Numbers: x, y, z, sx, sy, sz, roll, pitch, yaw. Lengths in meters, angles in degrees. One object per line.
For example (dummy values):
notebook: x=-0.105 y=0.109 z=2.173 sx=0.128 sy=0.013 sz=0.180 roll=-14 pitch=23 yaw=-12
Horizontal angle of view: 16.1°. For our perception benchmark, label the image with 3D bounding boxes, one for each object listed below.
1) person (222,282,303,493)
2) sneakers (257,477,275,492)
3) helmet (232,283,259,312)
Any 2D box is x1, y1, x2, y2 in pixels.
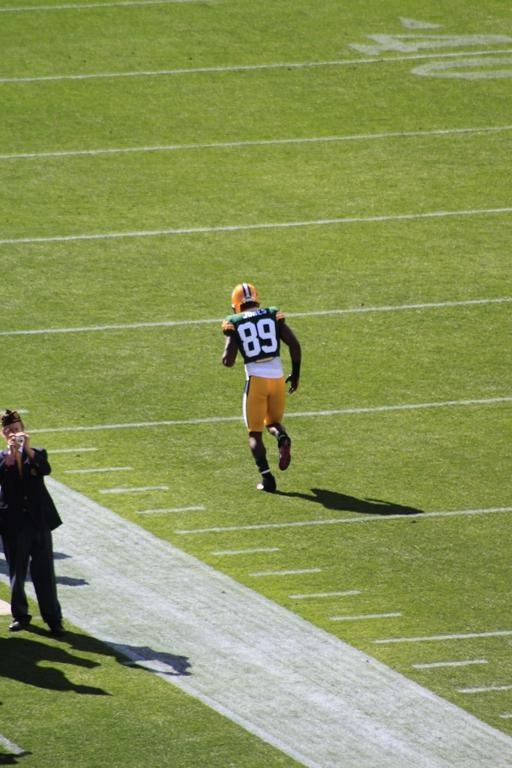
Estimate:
person: x=0.045 y=0.017 z=17.039 sx=0.725 sy=1.872 sz=0.938 roll=1 pitch=8 yaw=-1
sneakers: x=0.081 y=0.904 z=16.865 sx=0.097 sy=0.123 sz=0.179 roll=-11 pitch=23 yaw=-37
helmet: x=-0.130 y=-0.821 z=17.337 sx=0.214 sy=0.259 sz=0.294 roll=-4 pitch=5 yaw=-11
